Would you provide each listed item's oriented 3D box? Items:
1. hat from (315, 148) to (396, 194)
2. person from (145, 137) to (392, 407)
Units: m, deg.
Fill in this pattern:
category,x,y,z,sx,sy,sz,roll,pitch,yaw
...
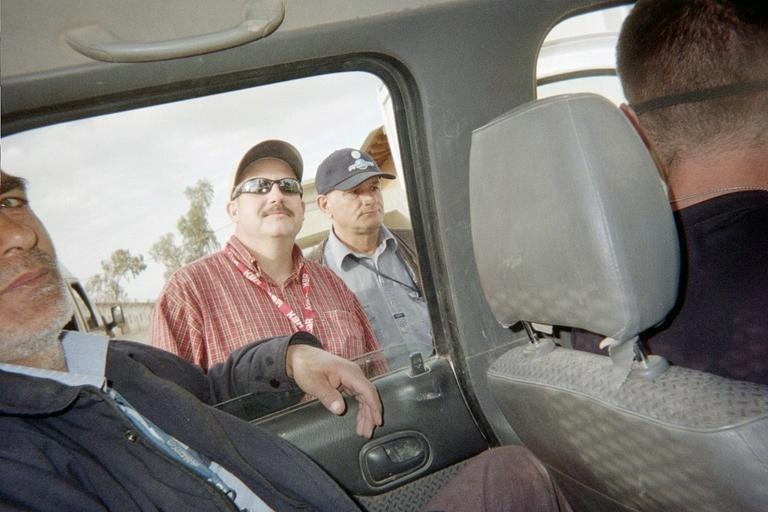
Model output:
category,x,y,z,sx,sy,sz,roll,pitch,yaw
hat,-0.105,-0.262,1.687,0.166,0.100,0.126,-21,7,22
person,-0.306,0.030,1.949,1.081,1.031,0.544,-1,-3,-31
